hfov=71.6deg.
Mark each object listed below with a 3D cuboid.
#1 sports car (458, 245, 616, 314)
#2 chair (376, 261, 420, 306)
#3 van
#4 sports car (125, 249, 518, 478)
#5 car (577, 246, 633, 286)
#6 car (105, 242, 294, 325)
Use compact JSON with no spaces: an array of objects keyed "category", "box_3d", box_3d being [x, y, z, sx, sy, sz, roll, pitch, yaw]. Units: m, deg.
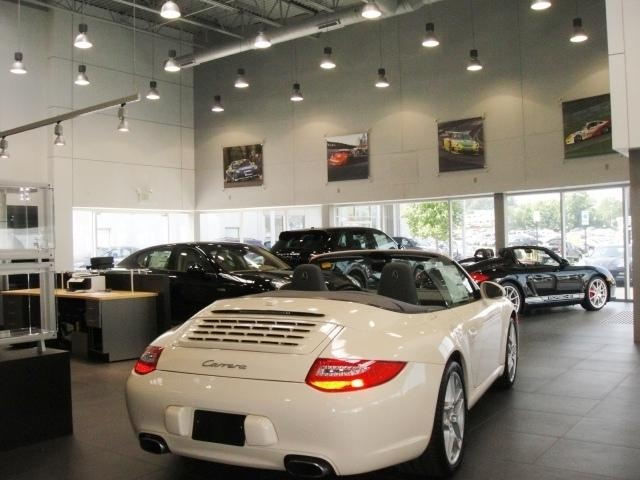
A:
[{"category":"sports car","box_3d":[4.886,0.789,10.279,3.971,1.236,1.945,0,2,-24]},{"category":"chair","box_3d":[0.558,0.331,3.295,0.325,0.345,0.203,2,-29,15]},{"category":"van","box_3d":[0.595,0.061,10.496,2.576,0.841,1.167,-1,0,-40]},{"category":"sports car","box_3d":[0.465,0.569,3.355,1.494,0.859,2.806,2,5,30]},{"category":"car","box_3d":[7.629,0.705,11.733,0.947,0.669,2.028,0,4,30]},{"category":"car","box_3d":[-2.133,0.689,8.320,3.226,1.030,1.369,-1,0,31]}]
